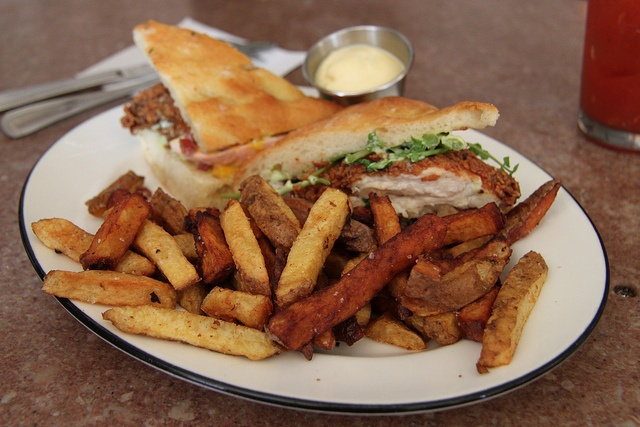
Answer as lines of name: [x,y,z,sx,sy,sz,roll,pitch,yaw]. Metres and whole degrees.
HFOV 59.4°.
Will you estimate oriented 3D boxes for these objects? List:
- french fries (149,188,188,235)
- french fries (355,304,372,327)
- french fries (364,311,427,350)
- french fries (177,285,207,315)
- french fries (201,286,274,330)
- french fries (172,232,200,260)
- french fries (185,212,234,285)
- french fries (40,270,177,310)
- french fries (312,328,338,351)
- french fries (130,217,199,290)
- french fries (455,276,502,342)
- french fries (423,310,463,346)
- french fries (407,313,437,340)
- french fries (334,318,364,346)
french fries: [-0.842,-0.002,3.138,0.155,0.064,0.274,-39,90,-19]
french fries: [0.215,0.507,2.784,0.084,0.026,0.106,4,71,-9]
french fries: [0.374,0.588,2.731,0.246,0.094,0.144,20,40,23]
french fries: [-0.644,0.432,2.831,0.130,0.047,0.150,-8,65,-15]
french fries: [-0.400,0.446,2.685,0.360,0.119,0.177,11,52,21]
french fries: [-0.709,0.166,2.986,0.133,0.034,0.127,-24,71,-32]
french fries: [-0.556,0.159,2.946,0.222,0.109,0.395,-27,71,6]
french fries: [-1.095,0.392,2.772,0.127,0.551,0.142,43,108,31]
french fries: [0.024,0.595,2.650,0.103,0.039,0.101,-36,56,-21]
french fries: [-0.781,0.215,2.835,0.190,0.113,0.506,-22,53,-20]
french fries: [0.760,0.462,2.679,0.147,0.081,0.258,-1,55,57]
french fries: [0.588,0.549,2.670,0.166,0.120,0.154,3,104,3]
french fries: [0.519,0.549,2.773,0.033,0.128,0.133,-49,33,-9]
french fries: [0.131,0.562,2.708,0.136,0.047,0.127,-31,90,-1]
